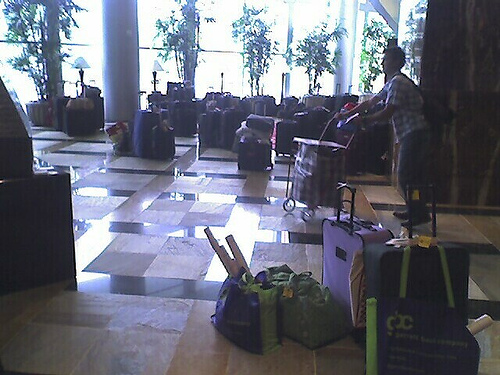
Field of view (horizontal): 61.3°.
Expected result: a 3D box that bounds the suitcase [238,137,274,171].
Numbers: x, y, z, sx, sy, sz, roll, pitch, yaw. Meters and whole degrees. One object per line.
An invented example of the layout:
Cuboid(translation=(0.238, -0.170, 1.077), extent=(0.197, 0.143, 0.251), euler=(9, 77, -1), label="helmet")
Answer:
Cuboid(translation=(0.052, -0.484, 6.913), extent=(0.687, 0.737, 0.425), euler=(1, 5, 2), label="suitcase")

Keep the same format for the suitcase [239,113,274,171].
Cuboid(translation=(0.080, -0.825, 7.221), extent=(0.625, 1.146, 1.143), euler=(2, 11, 3), label="suitcase")

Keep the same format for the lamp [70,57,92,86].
Cuboid(translation=(-4.165, -2.853, 10.387), extent=(0.427, 0.689, 0.988), euler=(-4, 16, -22), label="lamp")

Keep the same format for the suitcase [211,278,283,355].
Cuboid(translation=(-0.031, 0.794, 2.751), extent=(0.324, 0.400, 0.565), euler=(-2, 5, -33), label="suitcase")

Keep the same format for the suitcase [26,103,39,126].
Cuboid(translation=(-5.396, -1.794, 10.467), extent=(0.242, 0.590, 0.507), euler=(-7, 16, -32), label="suitcase")

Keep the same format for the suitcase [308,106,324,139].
Cuboid(translation=(1.168, -1.182, 7.546), extent=(0.382, 0.739, 0.451), euler=(-1, 11, 2), label="suitcase")

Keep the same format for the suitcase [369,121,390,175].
Cuboid(translation=(2.021, -0.603, 6.624), extent=(0.343, 0.883, 0.251), euler=(9, 15, 27), label="suitcase")

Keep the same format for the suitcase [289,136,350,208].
Cuboid(translation=(0.674, -0.179, 4.623), extent=(0.376, 0.518, 0.440), euler=(-1, 14, -34), label="suitcase")

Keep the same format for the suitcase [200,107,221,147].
Cuboid(translation=(-0.807, -1.263, 8.776), extent=(0.581, 0.878, 0.624), euler=(4, 18, 4), label="suitcase")

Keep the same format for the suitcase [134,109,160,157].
Cuboid(translation=(-1.857, -1.004, 7.462), extent=(0.521, 0.995, 0.547), euler=(0, 4, -13), label="suitcase")

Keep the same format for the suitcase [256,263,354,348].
Cuboid(translation=(0.352, 0.577, 2.698), extent=(0.361, 0.388, 0.701), euler=(-16, 18, -29), label="suitcase")

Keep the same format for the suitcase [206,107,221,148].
Cuboid(translation=(-0.816, -1.193, 8.752), extent=(0.457, 0.664, 0.360), euler=(-1, 9, -5), label="suitcase")

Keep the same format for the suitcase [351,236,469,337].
Cuboid(translation=(0.835, 0.413, 2.496), extent=(0.663, 0.739, 0.574), euler=(0, 7, 1), label="suitcase")
